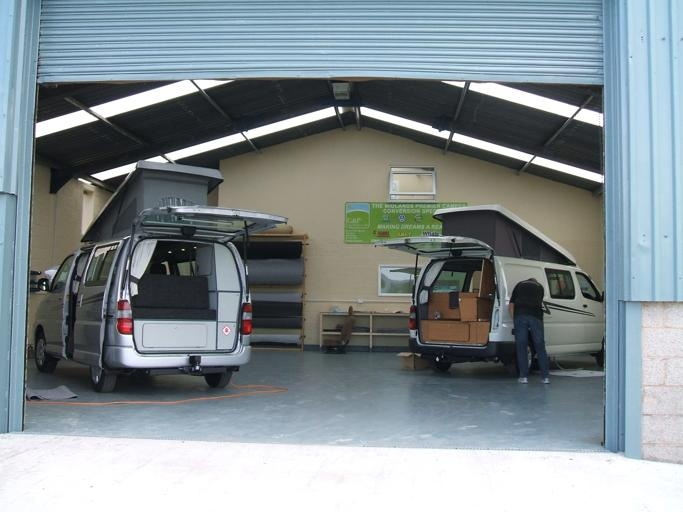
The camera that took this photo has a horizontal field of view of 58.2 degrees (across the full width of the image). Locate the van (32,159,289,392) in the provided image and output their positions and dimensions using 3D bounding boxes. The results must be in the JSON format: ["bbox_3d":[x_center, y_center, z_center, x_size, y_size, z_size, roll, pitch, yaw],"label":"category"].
[{"bbox_3d":[-2.618,0.304,8.961,2.076,2.213,4.717,3,-2,-35],"label":"van"}]

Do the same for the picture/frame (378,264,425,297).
[{"bbox_3d":[1.395,0.576,13.872,0.992,0.612,0.037,0,-8,4],"label":"picture/frame"}]

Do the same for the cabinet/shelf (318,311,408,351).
[{"bbox_3d":[0.701,1.782,14.612,2.024,0.804,0.438,1,1,0],"label":"cabinet/shelf"}]

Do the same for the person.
[{"bbox_3d":[2.833,1.114,9.216,0.507,1.539,0.267,-3,-5,15],"label":"person"}]

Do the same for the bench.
[{"bbox_3d":[-2.367,0.520,8.123,0.656,0.611,1.276,-4,-7,43],"label":"bench"}]
